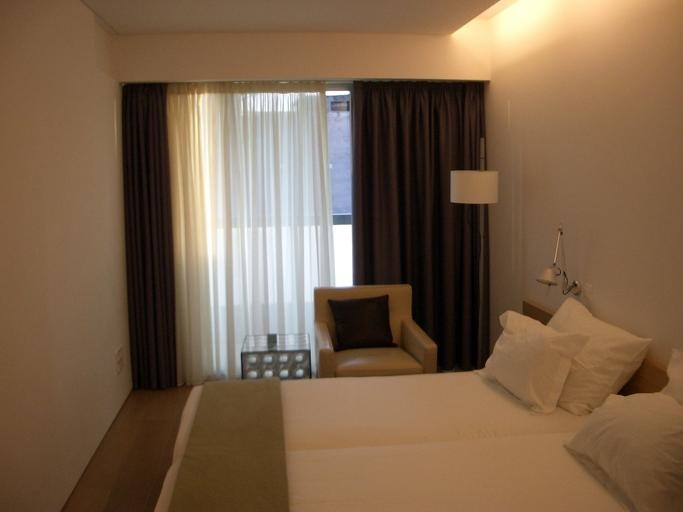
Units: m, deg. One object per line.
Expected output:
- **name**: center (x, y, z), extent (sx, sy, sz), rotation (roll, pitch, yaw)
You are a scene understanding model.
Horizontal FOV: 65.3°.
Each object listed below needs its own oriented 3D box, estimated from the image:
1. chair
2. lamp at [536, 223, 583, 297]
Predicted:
- **chair**: center (0.245, 0.534, 4.773), extent (0.780, 1.006, 0.860), rotation (-1, 0, -7)
- **lamp**: center (1.673, 0.054, 4.231), extent (0.290, 0.524, 0.512), rotation (0, 14, -1)
